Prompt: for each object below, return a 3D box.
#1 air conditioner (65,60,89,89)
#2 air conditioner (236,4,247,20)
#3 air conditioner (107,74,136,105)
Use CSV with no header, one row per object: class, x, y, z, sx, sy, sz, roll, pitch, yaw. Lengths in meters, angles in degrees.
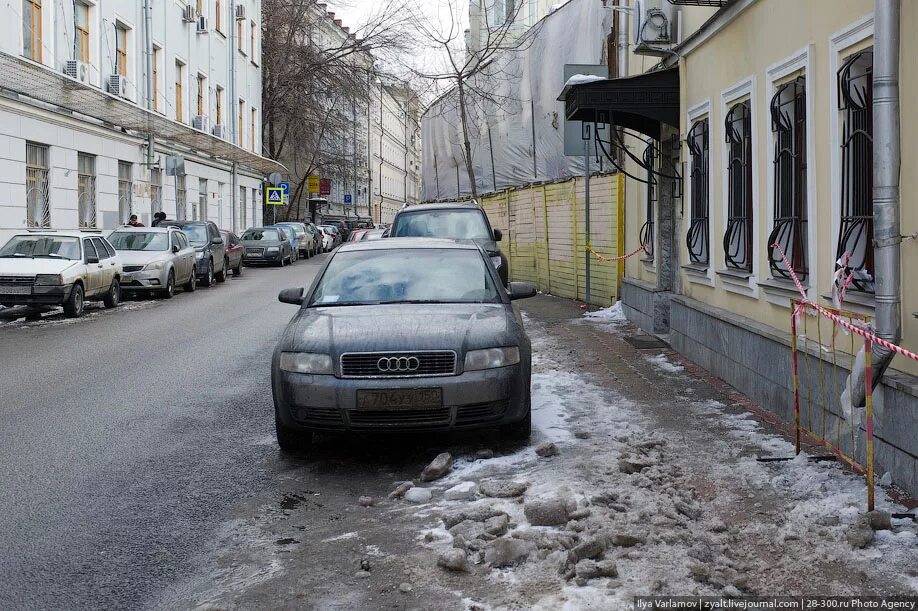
air conditioner,-12.636,-7.609,23.138,0.502,0.760,1.133,-2,6,-10
air conditioner,-13.191,-17.701,42.519,0.575,0.930,0.316,0,5,-2
air conditioner,-13.197,-8.536,27.534,0.609,1.191,2.721,-3,6,-16
